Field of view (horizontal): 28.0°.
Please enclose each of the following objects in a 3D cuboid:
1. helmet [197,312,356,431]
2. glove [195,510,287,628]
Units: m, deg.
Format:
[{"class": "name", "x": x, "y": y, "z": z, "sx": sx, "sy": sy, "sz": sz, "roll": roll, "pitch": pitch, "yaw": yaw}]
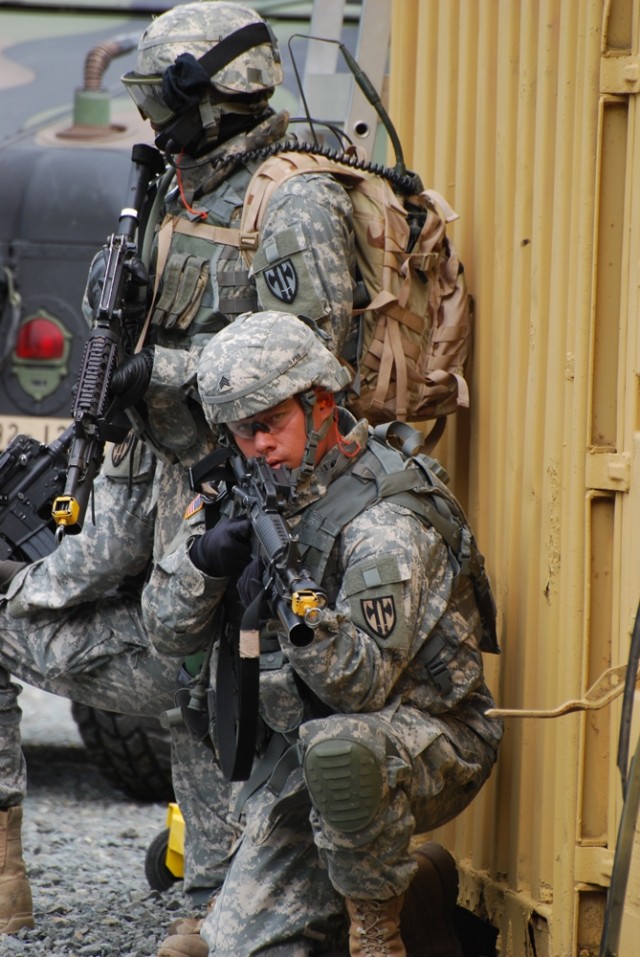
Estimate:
[{"class": "helmet", "x": -0.108, "y": -0.223, "z": 2.611, "sx": 0.259, "sy": 0.161, "sz": 0.253, "roll": -21, "pitch": 3, "yaw": 28}, {"class": "glove", "x": -0.180, "y": 0.154, "z": 2.585, "sx": 0.187, "sy": 0.176, "sz": 0.073, "roll": 24, "pitch": 48, "yaw": 25}]
